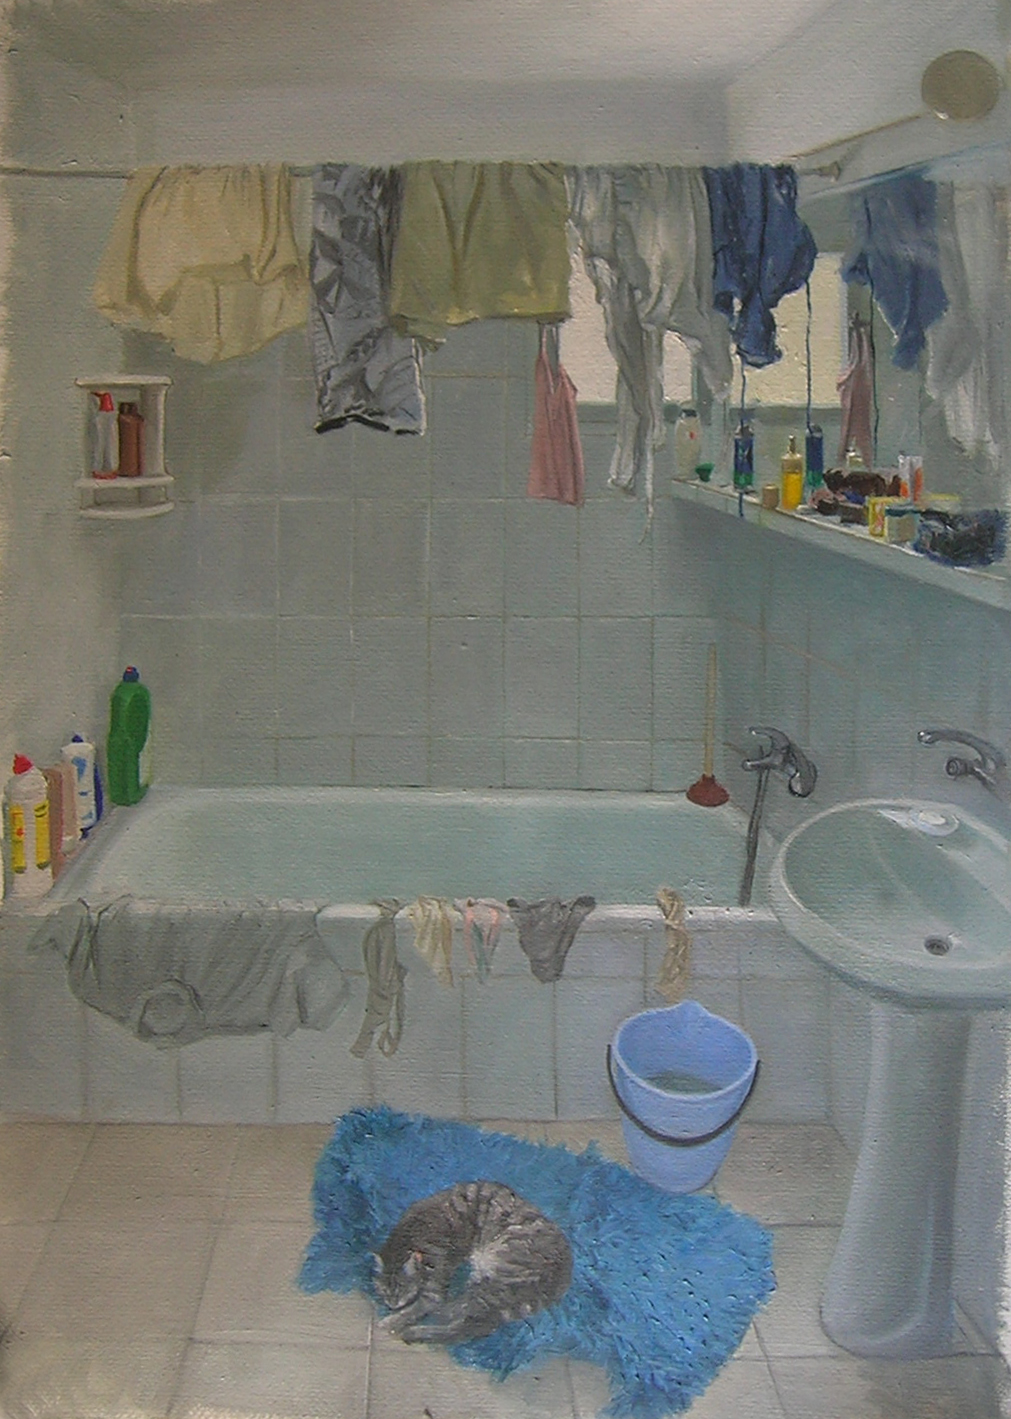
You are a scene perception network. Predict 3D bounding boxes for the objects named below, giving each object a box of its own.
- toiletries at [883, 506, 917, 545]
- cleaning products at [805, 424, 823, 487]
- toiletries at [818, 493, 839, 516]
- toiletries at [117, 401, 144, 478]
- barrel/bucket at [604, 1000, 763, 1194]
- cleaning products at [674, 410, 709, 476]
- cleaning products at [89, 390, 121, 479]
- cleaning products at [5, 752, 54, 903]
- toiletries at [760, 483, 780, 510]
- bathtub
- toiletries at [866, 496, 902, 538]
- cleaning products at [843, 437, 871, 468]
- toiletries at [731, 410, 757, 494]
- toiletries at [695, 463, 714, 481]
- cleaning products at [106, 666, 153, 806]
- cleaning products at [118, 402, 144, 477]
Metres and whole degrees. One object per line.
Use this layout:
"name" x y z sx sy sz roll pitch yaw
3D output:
"toiletries" 0.523 -0.250 1.890 0.052 0.053 0.050 -3 8 -19
"cleaning products" 0.487 -0.408 2.262 0.020 0.101 0.043 -5 8 -12
"toiletries" 0.489 -0.318 2.176 0.031 0.020 0.030 -12 -9 26
"toiletries" -0.692 -0.507 2.633 0.041 0.140 0.103 -4 8 -2
"barrel/bucket" 0.272 0.593 2.241 0.271 0.243 0.266 -2 17 0
"cleaning products" 0.354 -0.520 2.757 0.058 0.131 0.034 -2 9 10
"cleaning products" -0.724 -0.503 2.562 0.047 0.166 0.080 -6 8 -14
"cleaning products" -0.756 0.177 2.255 0.059 0.220 0.105 -4 8 -2
"toiletries" 0.436 -0.360 2.359 0.041 0.041 0.039 1 0 -18
"bathtub" -0.185 0.249 2.787 1.370 0.351 0.581 0 9 -1
"toiletries" 0.515 -0.273 1.971 0.060 0.059 0.057 -4 7 -16
"cleaning products" 0.530 -0.393 2.170 0.045 0.037 0.070 6 -18 10
"toiletries" 0.416 -0.459 2.505 0.020 0.142 0.065 -7 9 -20
"toiletries" 0.376 -0.459 2.706 0.032 0.028 0.030 2 6 27
"cleaning products" -0.730 0.045 2.733 0.073 0.258 0.112 -3 8 2
"cleaning products" -0.692 -0.507 2.634 0.040 0.140 0.103 -3 8 0
